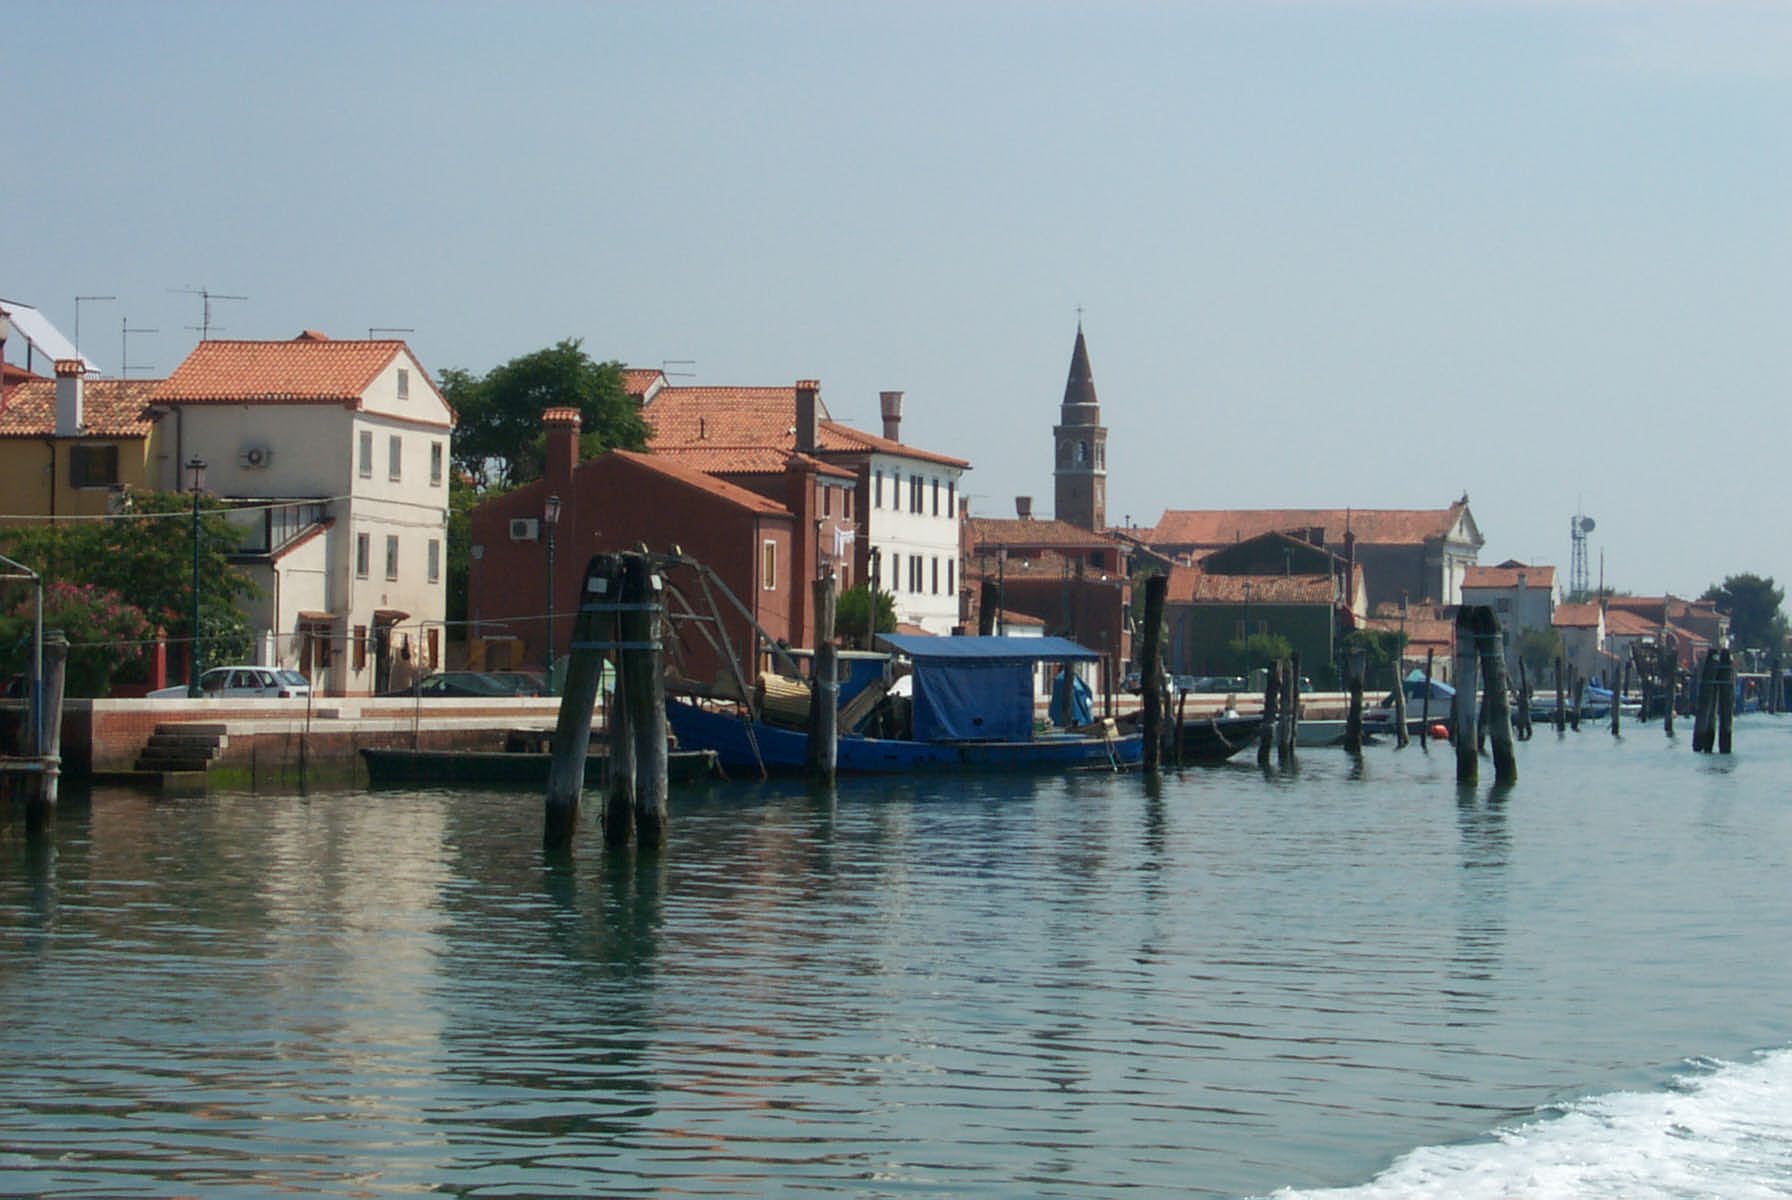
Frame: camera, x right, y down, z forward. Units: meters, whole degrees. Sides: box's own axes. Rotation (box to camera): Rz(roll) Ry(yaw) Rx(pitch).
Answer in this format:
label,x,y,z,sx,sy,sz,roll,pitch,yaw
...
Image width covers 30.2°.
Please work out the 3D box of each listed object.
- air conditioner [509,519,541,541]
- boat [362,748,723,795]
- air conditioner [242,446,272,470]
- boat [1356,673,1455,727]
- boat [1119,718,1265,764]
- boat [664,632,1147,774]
label,x,y,z,sx,sy,sz,roll,pitch,yaw
air conditioner,-12.376,-2.466,111.325,0.819,0.600,0.799,-1,-6,6
boat,-8.435,3.934,77.012,7.807,1.054,1.795,0,-4,-7
air conditioner,-20.751,-4.636,107.798,1.328,0.877,0.673,1,-6,1
boat,21.270,3.481,136.832,3.299,1.264,3.259,4,-5,-37
boat,9.897,4.367,101.878,4.624,1.552,1.625,0,1,-36
boat,0.943,2.715,90.541,4.976,4.192,16.650,-4,-5,32
